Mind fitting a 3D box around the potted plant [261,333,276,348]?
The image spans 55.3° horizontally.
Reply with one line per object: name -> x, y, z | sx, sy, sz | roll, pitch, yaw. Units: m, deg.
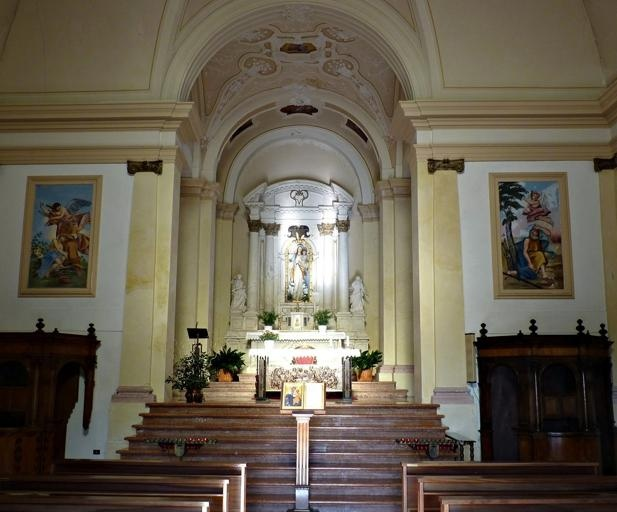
potted plant -> -1.032, 2.139, 14.938 | 0.386, 0.421, 0.547 | 1, -9, 2

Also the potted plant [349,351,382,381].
potted plant -> 1.273, 2.348, 12.645 | 0.766, 0.830, 0.792 | -1, -11, 12

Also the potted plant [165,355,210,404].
potted plant -> -2.125, 2.150, 10.730 | 0.866, 1.175, 0.990 | 1, -3, -20

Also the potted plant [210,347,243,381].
potted plant -> -1.723, 2.249, 12.215 | 0.686, 0.676, 0.727 | 3, -9, -9

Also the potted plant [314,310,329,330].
potted plant -> 0.384, 1.802, 16.628 | 0.440, 0.552, 0.435 | 2, -9, -3

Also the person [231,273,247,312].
person -> -1.967, 1.069, 16.750 | 0.472, 1.061, 0.298 | 5, -10, -22

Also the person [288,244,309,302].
person -> -0.299, 0.521, 17.623 | 0.683, 1.659, 0.239 | 2, -9, -3

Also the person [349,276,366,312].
person -> 1.398, 1.121, 16.739 | 0.549, 1.015, 0.340 | -1, -10, 16

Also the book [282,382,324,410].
book -> -0.072, 1.852, 7.736 | 0.475, 0.348, 0.114 | 1, -19, 5

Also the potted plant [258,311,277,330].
potted plant -> -1.171, 1.794, 16.500 | 0.440, 0.498, 0.470 | 3, -5, 0
